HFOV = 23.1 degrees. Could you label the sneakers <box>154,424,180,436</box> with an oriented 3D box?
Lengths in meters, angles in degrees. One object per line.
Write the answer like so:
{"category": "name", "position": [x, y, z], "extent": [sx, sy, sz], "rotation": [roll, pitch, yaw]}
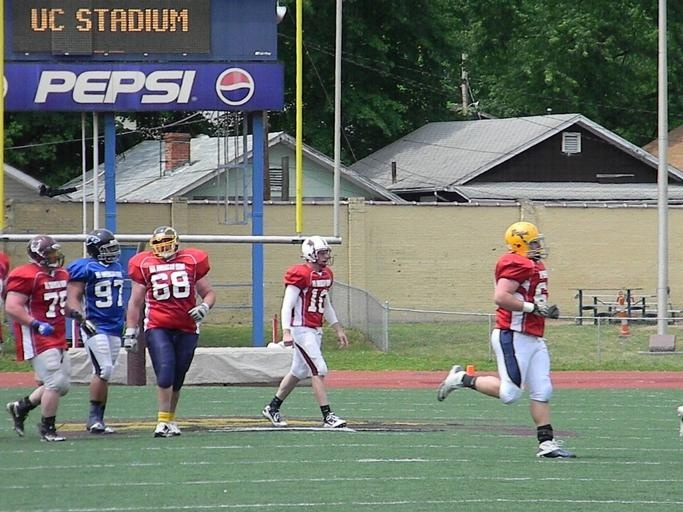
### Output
{"category": "sneakers", "position": [-2.696, 2.694, 26.130], "extent": [0.425, 0.239, 0.240], "rotation": [1, -1, -14]}

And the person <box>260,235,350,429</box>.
{"category": "person", "position": [-0.562, 1.188, 26.951], "extent": [1.250, 3.069, 0.746], "rotation": [1, -1, -3]}

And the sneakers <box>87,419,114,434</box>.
{"category": "sneakers", "position": [-3.729, 2.693, 26.384], "extent": [0.552, 0.146, 0.218], "rotation": [8, -23, 15]}

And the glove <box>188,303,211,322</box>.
{"category": "glove", "position": [-2.205, 0.850, 25.995], "extent": [0.340, 0.240, 0.139], "rotation": [-33, 4, 8]}

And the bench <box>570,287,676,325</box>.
{"category": "bench", "position": [7.010, 1.238, 41.752], "extent": [2.082, 0.580, 1.380], "rotation": [0, 2, -1]}

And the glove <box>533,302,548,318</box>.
{"category": "glove", "position": [2.976, 0.781, 25.155], "extent": [0.201, 0.203, 0.178], "rotation": [1, -1, 4]}

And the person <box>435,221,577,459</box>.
{"category": "person", "position": [2.674, 1.237, 25.377], "extent": [1.719, 3.553, 0.699], "rotation": [1, -1, 11]}

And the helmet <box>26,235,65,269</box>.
{"category": "helmet", "position": [-4.617, -0.110, 26.124], "extent": [0.635, 0.441, 0.480], "rotation": [6, 8, 22]}

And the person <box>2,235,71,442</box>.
{"category": "person", "position": [-4.713, 1.249, 26.041], "extent": [1.006, 3.207, 0.548], "rotation": [1, -1, -9]}

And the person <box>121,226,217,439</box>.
{"category": "person", "position": [-2.680, 1.166, 26.093], "extent": [1.358, 3.283, 0.574], "rotation": [1, -1, -5]}

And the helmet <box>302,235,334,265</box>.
{"category": "helmet", "position": [-0.473, -0.119, 26.958], "extent": [0.543, 0.360, 0.379], "rotation": [1, 4, 21]}

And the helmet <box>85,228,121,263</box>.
{"category": "helmet", "position": [-3.770, -0.231, 26.571], "extent": [0.641, 0.424, 0.422], "rotation": [10, 19, 9]}

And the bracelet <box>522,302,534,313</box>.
{"category": "bracelet", "position": [2.784, 0.747, 25.137], "extent": [0.119, 0.140, 0.127], "rotation": [6, 13, -11]}

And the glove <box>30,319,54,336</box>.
{"category": "glove", "position": [-4.590, 1.089, 25.832], "extent": [0.306, 0.146, 0.219], "rotation": [24, -8, 42]}

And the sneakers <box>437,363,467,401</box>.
{"category": "sneakers", "position": [1.708, 1.997, 25.884], "extent": [0.219, 0.590, 0.284], "rotation": [39, -12, -16]}
